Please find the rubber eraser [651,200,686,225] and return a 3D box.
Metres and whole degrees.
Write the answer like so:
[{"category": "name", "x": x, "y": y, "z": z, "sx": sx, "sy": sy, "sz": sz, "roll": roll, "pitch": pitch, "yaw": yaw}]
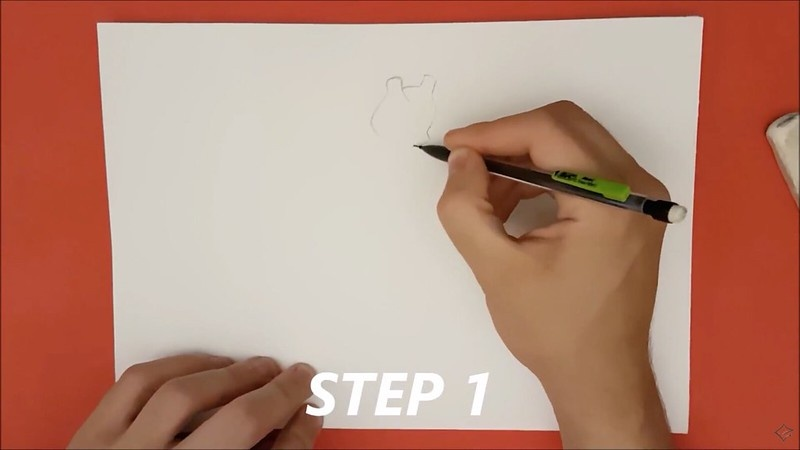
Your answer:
[{"category": "rubber eraser", "x": 0.635, "y": -0.031, "z": 1.638, "sx": 0.042, "sy": 0.037, "sz": 0.090, "roll": 12, "pitch": 3, "yaw": -36}]
